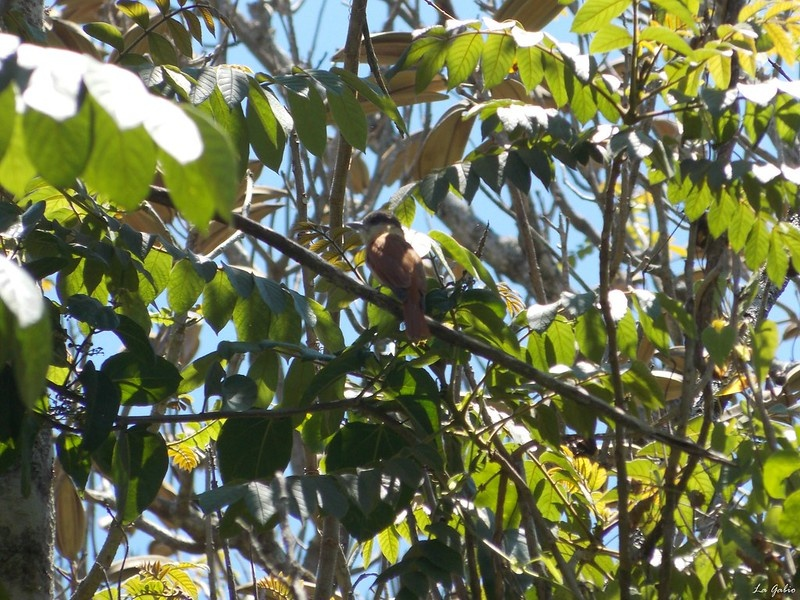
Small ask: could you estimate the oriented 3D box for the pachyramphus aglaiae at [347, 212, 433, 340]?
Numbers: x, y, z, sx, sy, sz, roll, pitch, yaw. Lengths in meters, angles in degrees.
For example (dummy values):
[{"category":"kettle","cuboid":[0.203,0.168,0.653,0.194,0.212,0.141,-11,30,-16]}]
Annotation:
[{"category":"pachyramphus aglaiae","cuboid":[-0.024,-0.152,8.193,0.282,0.960,0.447,-9,-46,-18]}]
